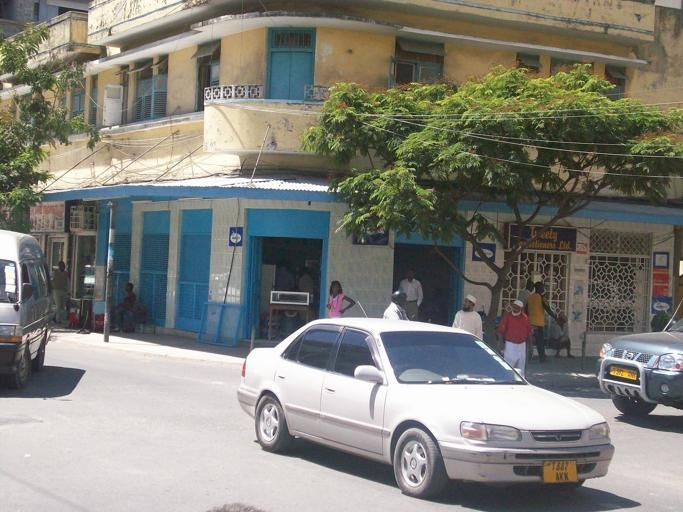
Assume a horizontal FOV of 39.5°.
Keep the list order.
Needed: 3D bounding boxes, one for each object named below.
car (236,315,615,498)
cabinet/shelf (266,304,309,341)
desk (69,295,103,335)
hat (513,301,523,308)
[{"bbox_3d":[1.183,2.243,14.076,2.405,1.814,5.190,5,-4,-40],"label":"car"},{"bbox_3d":[-1.401,1.720,25.302,1.044,1.071,0.960,0,-6,-4],"label":"cabinet/shelf"},{"bbox_3d":[-7.940,1.928,29.507,1.153,0.932,1.274,1,-1,28],"label":"desk"},{"bbox_3d":[3.902,1.087,21.002,0.173,0.164,0.750,2,0,17],"label":"hat"}]
